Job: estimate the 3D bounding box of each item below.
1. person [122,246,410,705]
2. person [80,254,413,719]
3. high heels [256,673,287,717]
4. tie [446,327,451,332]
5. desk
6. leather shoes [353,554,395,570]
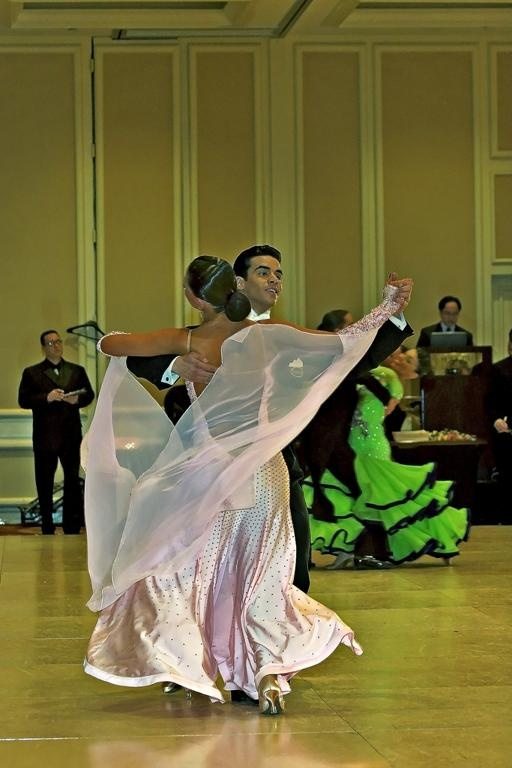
[{"bbox_3d":[0.019,0.297,2.409,1.098,1.260,0.735,-4,1,17],"label":"person"},{"bbox_3d":[-0.073,0.263,2.282,0.833,1.268,0.585,-2,2,3],"label":"person"},{"bbox_3d":[0.042,0.809,2.127,0.050,0.055,0.133,-2,24,-2],"label":"high heels"},{"bbox_3d":[1.717,-0.483,7.315,0.052,0.044,0.022,11,20,25],"label":"tie"},{"bbox_3d":[1.493,0.721,6.237,1.039,0.806,0.631,0,-3,-5],"label":"desk"},{"bbox_3d":[0.665,1.033,4.740,0.278,0.098,0.084,-4,0,-6],"label":"leather shoes"}]
